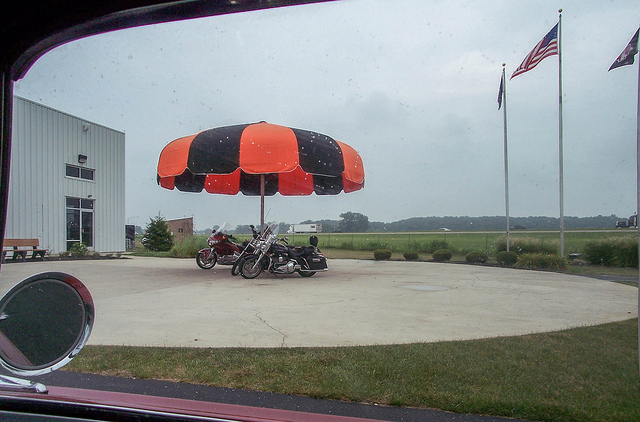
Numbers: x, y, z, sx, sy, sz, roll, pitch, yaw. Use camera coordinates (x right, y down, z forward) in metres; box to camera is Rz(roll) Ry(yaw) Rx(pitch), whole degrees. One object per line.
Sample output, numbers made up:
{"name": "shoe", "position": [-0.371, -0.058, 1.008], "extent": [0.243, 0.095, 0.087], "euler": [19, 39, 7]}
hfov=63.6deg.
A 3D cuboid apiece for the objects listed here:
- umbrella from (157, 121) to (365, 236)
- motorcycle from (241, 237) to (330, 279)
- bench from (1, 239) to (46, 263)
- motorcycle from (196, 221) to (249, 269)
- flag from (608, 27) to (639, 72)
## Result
{"name": "umbrella", "position": [-0.881, -1.173, 12.524], "extent": [3.436, 2.204, 3.514], "euler": [1, 0, 30]}
{"name": "motorcycle", "position": [-0.913, 1.110, 12.043], "extent": [1.729, 1.017, 0.958], "euler": [2, -2, -11]}
{"name": "bench", "position": [-8.887, 1.194, 15.352], "extent": [1.021, 0.848, 1.909], "euler": [-1, 4, -21]}
{"name": "motorcycle", "position": [-2.365, 0.899, 13.328], "extent": [1.764, 1.184, 0.685], "euler": [4, 3, -42]}
{"name": "flag", "position": [3.365, -1.742, 5.700], "extent": [0.237, 0.323, 0.295], "euler": [3, 5, 28]}
